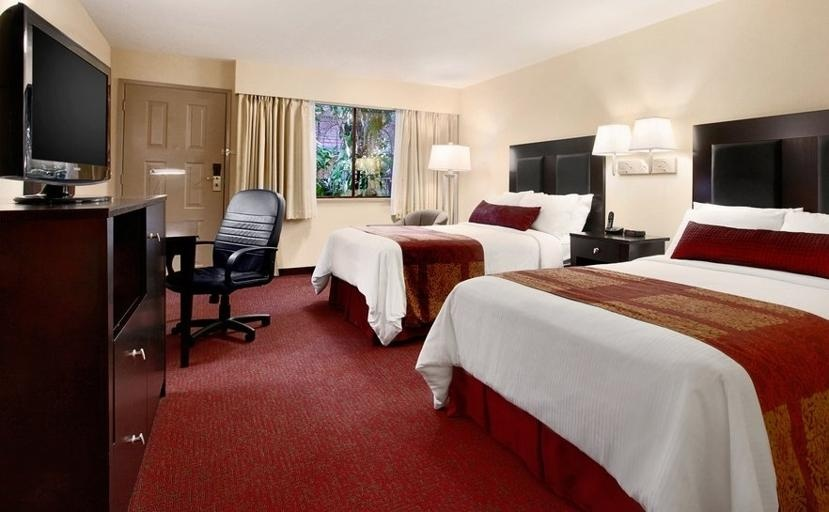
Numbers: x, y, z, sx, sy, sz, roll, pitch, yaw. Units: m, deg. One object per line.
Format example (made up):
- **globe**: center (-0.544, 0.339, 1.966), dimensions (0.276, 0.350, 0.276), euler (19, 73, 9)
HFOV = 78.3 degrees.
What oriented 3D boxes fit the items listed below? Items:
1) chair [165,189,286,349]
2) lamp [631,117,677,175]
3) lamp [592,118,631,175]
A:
- **chair**: center (-1.667, 0.051, 4.412), dimensions (0.912, 1.289, 0.839), euler (4, 4, 22)
- **lamp**: center (2.209, -0.992, 4.726), dimensions (0.408, 0.497, 0.421), euler (3, 3, 24)
- **lamp**: center (2.020, -1.049, 5.094), dimensions (0.497, 0.507, 0.508), euler (-2, 17, 10)
